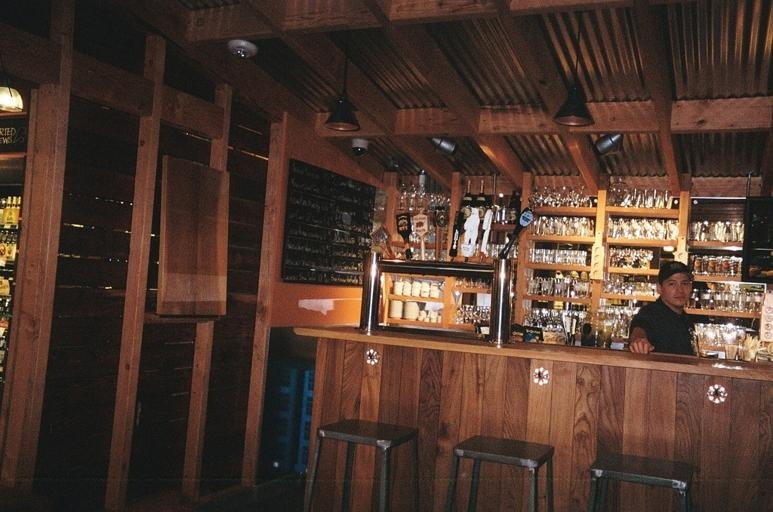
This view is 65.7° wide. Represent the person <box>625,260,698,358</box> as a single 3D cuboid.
[{"bbox_3d":[2.223,0.387,4.810,0.467,0.770,0.974,2,-7,25],"label":"person"}]

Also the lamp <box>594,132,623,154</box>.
[{"bbox_3d":[2.163,-1.118,5.844,0.243,0.200,0.346,3,-7,18],"label":"lamp"}]

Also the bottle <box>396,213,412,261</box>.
[{"bbox_3d":[0.135,-0.153,4.509,0.126,0.379,0.056,-2,-3,3],"label":"bottle"}]

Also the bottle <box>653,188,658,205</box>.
[{"bbox_3d":[2.992,-0.653,6.655,0.043,0.166,0.014,3,-8,20],"label":"bottle"}]

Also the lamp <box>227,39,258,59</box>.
[{"bbox_3d":[-1.190,-1.702,4.885,0.192,0.112,0.187,11,-9,-44],"label":"lamp"}]

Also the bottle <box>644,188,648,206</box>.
[{"bbox_3d":[2.926,-0.659,6.699,0.022,0.171,0.081,10,-8,-32],"label":"bottle"}]

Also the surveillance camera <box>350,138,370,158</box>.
[{"bbox_3d":[-0.290,-1.180,6.501,0.160,0.157,0.174,2,7,-26],"label":"surveillance camera"}]

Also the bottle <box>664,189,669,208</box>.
[{"bbox_3d":[3.109,-0.622,6.631,0.085,0.203,0.026,9,-8,-27],"label":"bottle"}]

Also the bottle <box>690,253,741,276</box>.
[{"bbox_3d":[3.721,0.100,6.809,0.487,0.238,0.235,2,-3,22],"label":"bottle"}]

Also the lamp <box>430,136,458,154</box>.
[{"bbox_3d":[0.608,-1.165,6.352,0.272,0.135,0.134,22,21,2],"label":"lamp"}]

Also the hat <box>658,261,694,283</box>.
[{"bbox_3d":[2.425,0.135,5.114,0.243,0.197,0.337,-3,-7,11],"label":"hat"}]
